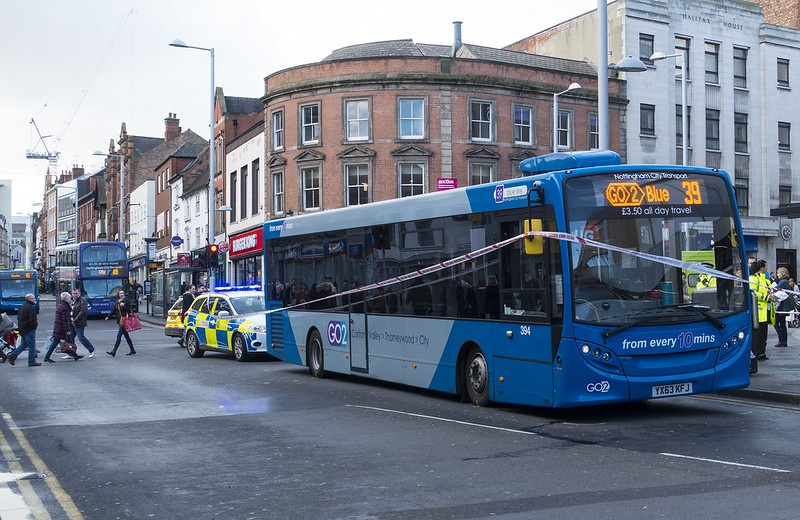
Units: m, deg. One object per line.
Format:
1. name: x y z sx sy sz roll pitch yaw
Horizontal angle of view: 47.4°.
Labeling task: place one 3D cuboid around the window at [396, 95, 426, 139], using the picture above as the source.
1. window: 0.540 -6.959 44.169 1.982 2.933 0.260 0 -4 -5

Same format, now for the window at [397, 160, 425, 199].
1. window: 0.608 -3.861 44.078 1.337 1.738 0.094 0 2 8

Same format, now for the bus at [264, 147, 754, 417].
1. bus: 1.256 0.541 19.662 4.084 4.052 11.689 0 -3 -32

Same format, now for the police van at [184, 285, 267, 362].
1. police van: -5.002 1.853 26.096 1.604 1.355 2.932 2 -7 -37

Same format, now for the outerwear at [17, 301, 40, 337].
1. outerwear: -10.557 1.642 25.692 0.485 1.011 0.764 -6 4 -23

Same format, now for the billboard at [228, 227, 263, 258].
1. billboard: -7.427 -0.704 44.031 0.485 1.220 7.917 -5 3 -17

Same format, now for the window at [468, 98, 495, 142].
1. window: 4.100 -6.928 44.887 1.302 2.025 0.331 -6 5 -29

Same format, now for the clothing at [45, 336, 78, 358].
1. clothing: -10.453 2.717 28.063 1.000 1.044 0.671 3 2 37

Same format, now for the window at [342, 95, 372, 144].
1. window: -2.092 -6.865 44.570 1.207 2.147 0.407 -2 5 21
